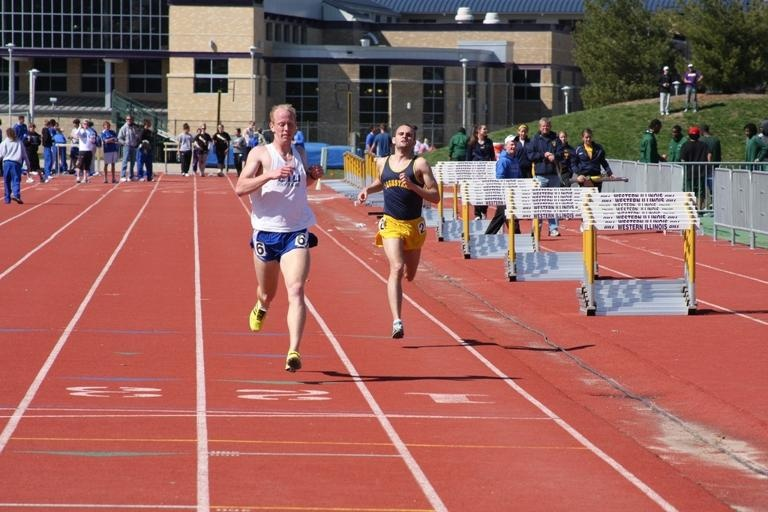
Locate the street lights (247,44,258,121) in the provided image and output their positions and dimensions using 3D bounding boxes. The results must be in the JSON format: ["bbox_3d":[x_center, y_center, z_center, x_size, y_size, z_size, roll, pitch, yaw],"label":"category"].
[{"bbox_3d":[-7.840,-10.804,68.193,0.710,3.882,0.688,0,3,-11],"label":"street lights"}]

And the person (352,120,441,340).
[{"bbox_3d":[0.212,-0.267,13.357,0.721,2.558,1.054,0,7,-14],"label":"person"}]
